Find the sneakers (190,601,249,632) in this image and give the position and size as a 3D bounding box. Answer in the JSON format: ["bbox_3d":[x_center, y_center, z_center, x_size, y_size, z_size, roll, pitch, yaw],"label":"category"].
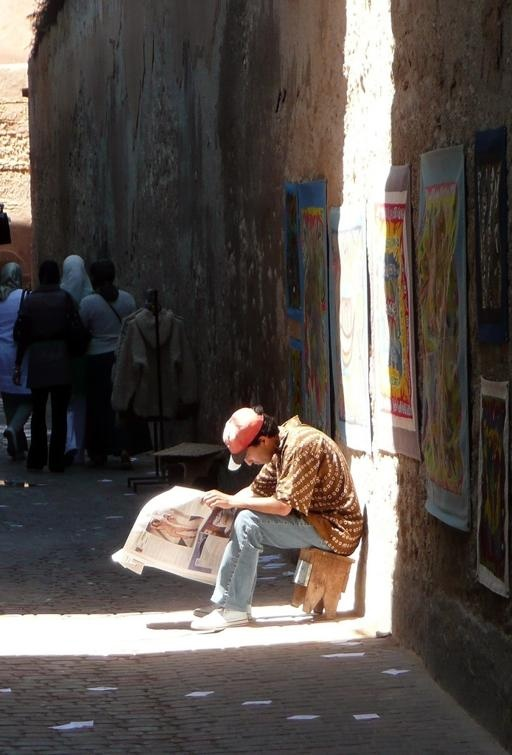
[{"bbox_3d":[-0.158,1.012,4.199,0.245,0.180,0.123,2,2,-6],"label":"sneakers"}]

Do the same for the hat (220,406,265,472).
[{"bbox_3d":[-0.052,0.243,4.150,0.116,0.297,0.141,22,-6,-34],"label":"hat"}]

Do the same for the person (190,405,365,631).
[{"bbox_3d":[0.107,0.760,4.364,0.658,1.171,0.672,10,-33,-10],"label":"person"}]

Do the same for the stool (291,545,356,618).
[{"bbox_3d":[0.291,0.819,4.354,0.199,0.433,0.270,12,1,-12],"label":"stool"}]
